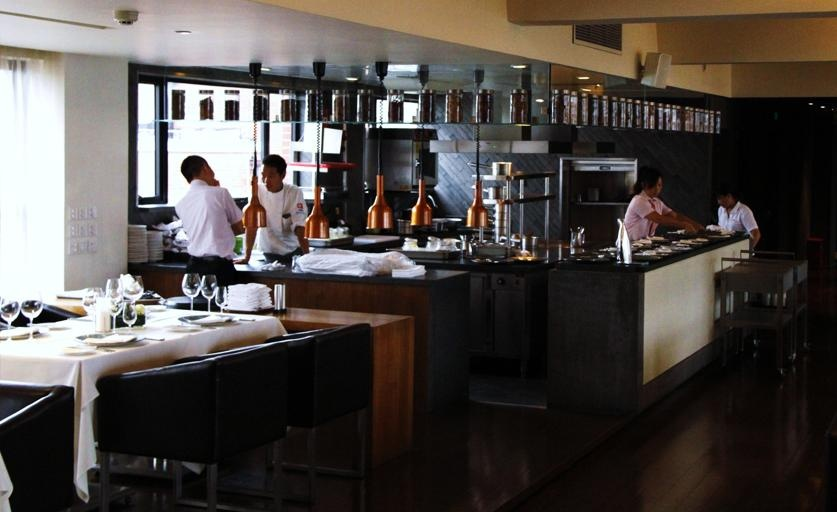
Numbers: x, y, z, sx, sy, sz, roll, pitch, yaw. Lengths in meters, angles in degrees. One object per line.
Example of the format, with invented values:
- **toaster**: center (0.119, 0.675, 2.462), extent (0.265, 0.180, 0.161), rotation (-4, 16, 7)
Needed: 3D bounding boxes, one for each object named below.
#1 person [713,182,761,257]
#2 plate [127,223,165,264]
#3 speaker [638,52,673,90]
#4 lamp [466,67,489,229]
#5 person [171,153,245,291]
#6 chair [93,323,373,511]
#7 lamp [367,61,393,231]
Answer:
- **person**: center (4.578, -0.579, 10.313), extent (0.586, 0.915, 1.001), rotation (4, 9, 22)
- **plate**: center (-2.901, -0.120, 7.722), extent (0.388, 0.375, 0.386), rotation (0, 1, -16)
- **speaker**: center (2.991, -2.395, 9.222), extent (0.341, 0.503, 0.676), rotation (5, 10, 25)
- **lamp**: center (0.545, -0.859, 6.697), extent (0.205, 1.135, 0.221), rotation (14, 18, 43)
- **person**: center (-2.013, -0.348, 6.923), extent (0.597, 1.213, 0.421), rotation (4, 9, 21)
- **chair**: center (-1.291, 1.095, 4.894), extent (0.607, 0.824, 1.346), rotation (2, 2, 28)
- **lamp**: center (-0.356, -0.937, 6.287), extent (0.272, 1.481, 0.263), rotation (3, 12, 1)
